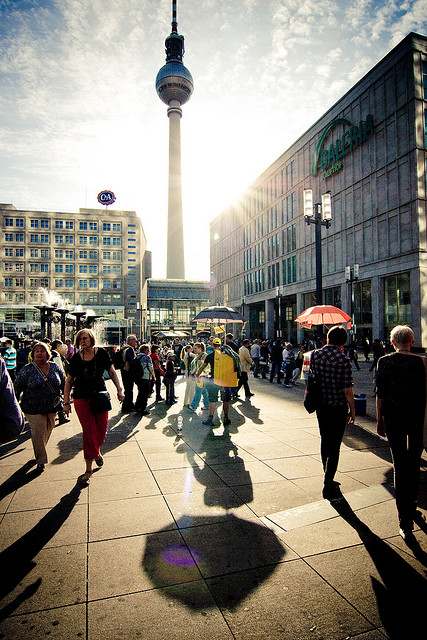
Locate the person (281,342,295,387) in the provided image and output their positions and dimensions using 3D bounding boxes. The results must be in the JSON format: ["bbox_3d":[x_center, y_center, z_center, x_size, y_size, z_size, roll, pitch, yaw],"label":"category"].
[{"bbox_3d":[2.627,1.489,16.584,0.409,1.497,1.461,-1,-2,10],"label":"person"}]

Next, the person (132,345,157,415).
[{"bbox_3d":[-1.582,1.298,10.692,0.479,1.540,0.682,0,-2,-7],"label":"person"}]

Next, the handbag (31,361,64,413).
[{"bbox_3d":[-2.106,0.849,6.210,0.556,0.658,0.274,-1,-2,29],"label":"handbag"}]

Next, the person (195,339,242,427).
[{"bbox_3d":[0.112,1.150,9.071,0.785,1.623,0.864,-1,-2,6],"label":"person"}]

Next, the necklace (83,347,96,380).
[{"bbox_3d":[-1.491,0.510,5.651,0.172,0.340,0.132,0,-2,-1],"label":"necklace"}]

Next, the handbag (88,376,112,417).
[{"bbox_3d":[-1.330,0.910,5.690,0.215,0.334,0.181,-4,-28,-41],"label":"handbag"}]

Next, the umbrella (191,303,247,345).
[{"bbox_3d":[0.562,-0.166,18.102,1.844,1.902,1.892,0,8,-36],"label":"umbrella"}]

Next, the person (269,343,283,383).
[{"bbox_3d":[2.355,1.563,17.986,0.490,1.483,1.530,-1,-2,8],"label":"person"}]

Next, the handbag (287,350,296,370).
[{"bbox_3d":[2.826,1.393,16.922,0.157,0.621,0.910,-1,-2,20],"label":"handbag"}]

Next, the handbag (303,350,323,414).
[{"bbox_3d":[1.084,0.674,5.267,0.173,0.703,0.280,0,-2,-7],"label":"handbag"}]

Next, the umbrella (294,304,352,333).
[{"bbox_3d":[3.049,-0.146,12.987,0.834,0.615,0.833,-1,-2,-28],"label":"umbrella"}]

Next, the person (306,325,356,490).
[{"bbox_3d":[1.284,0.934,5.194,0.498,1.780,0.352,-1,-2,15],"label":"person"}]

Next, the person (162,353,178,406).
[{"bbox_3d":[-1.102,1.458,12.105,0.329,1.349,1.340,0,-2,-5],"label":"person"}]
